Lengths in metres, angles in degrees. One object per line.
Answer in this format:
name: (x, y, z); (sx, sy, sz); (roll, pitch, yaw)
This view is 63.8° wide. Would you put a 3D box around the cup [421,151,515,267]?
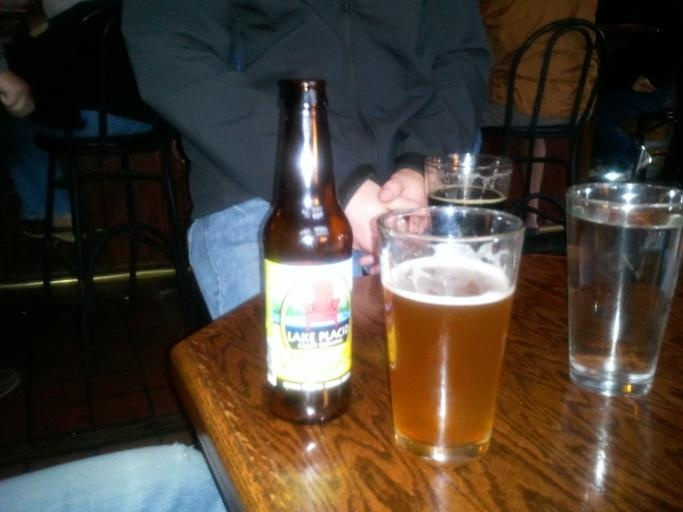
cup: (0.277, -0.108, 1.200); (0.224, 0.219, 0.200); (6, 17, 27)
